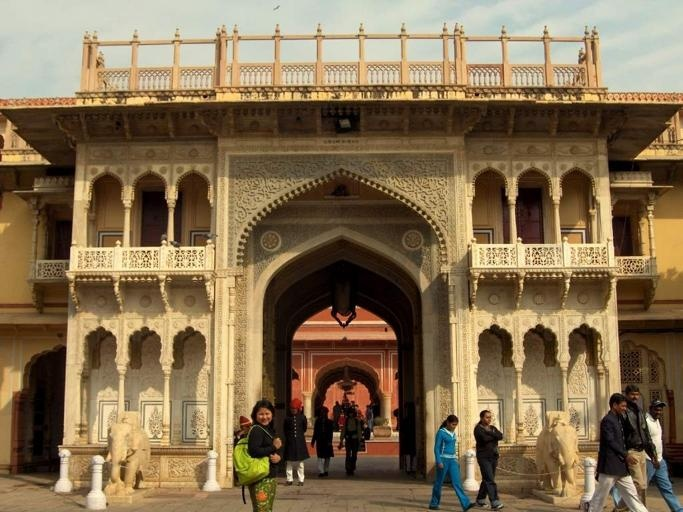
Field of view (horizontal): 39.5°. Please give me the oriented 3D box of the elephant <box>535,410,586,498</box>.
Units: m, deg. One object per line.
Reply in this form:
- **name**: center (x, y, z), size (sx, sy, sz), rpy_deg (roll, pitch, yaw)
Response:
- **elephant**: center (4.517, 4.156, 20.110), size (0.643, 1.812, 1.256), rpy_deg (2, -15, -5)

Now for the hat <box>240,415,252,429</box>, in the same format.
- **hat**: center (-1.507, 2.569, 14.828), size (0.185, 0.183, 0.258), rpy_deg (-1, 7, -3)

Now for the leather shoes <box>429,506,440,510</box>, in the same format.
- **leather shoes**: center (1.769, 4.832, 18.388), size (0.189, 0.079, 0.069), rpy_deg (-3, -3, 7)

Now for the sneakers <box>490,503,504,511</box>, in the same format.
- **sneakers**: center (2.944, 4.727, 18.096), size (0.114, 0.140, 0.312), rpy_deg (-2, -15, -6)

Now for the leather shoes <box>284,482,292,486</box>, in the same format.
- **leather shoes**: center (-1.228, 5.241, 22.052), size (0.170, 0.113, 0.461), rpy_deg (1, -15, -3)

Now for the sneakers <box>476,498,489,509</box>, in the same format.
- **sneakers**: center (2.708, 4.761, 18.470), size (0.139, 0.165, 0.380), rpy_deg (-1, 0, 10)

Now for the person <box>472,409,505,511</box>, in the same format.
- **person**: center (2.821, 3.917, 18.407), size (0.534, 1.883, 0.802), rpy_deg (-2, -16, 7)

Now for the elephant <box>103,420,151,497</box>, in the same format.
- **elephant**: center (-4.687, 4.227, 20.749), size (0.855, 1.705, 2.267), rpy_deg (4, -2, 3)
